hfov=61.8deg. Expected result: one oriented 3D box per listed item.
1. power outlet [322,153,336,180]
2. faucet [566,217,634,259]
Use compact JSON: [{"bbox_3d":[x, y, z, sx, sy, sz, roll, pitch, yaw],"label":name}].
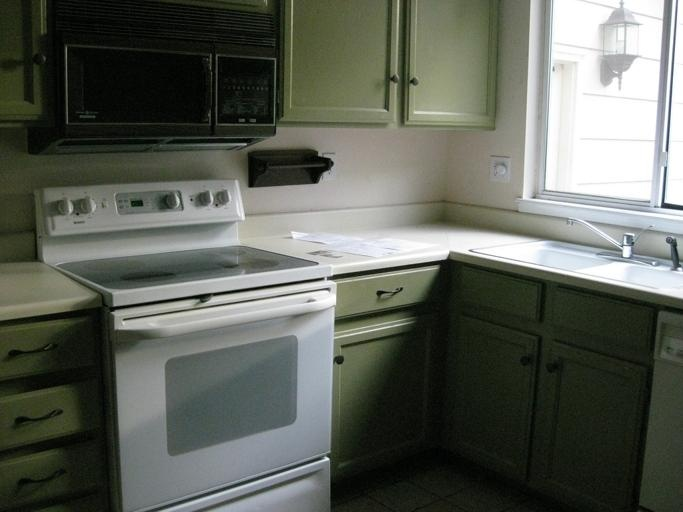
[{"bbox_3d":[-0.057,-0.448,2.888,0.029,0.112,0.123,4,2,28],"label":"power outlet"},{"bbox_3d":[1.203,-0.078,2.618,0.248,0.194,0.233,-2,14,-16],"label":"faucet"}]
